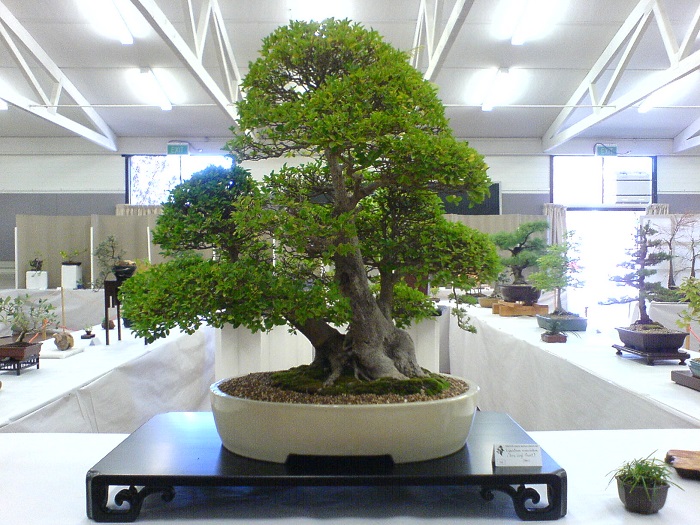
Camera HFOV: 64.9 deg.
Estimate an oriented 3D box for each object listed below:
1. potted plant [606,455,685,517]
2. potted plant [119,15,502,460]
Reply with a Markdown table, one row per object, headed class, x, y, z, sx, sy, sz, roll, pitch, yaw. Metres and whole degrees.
| class | x | y | z | sx | sy | sz | roll | pitch | yaw |
| --- | --- | --- | --- | --- | --- | --- | --- | --- | --- |
| potted plant | 1.131 | 0.822 | 2.108 | 0.201 | 0.167 | 0.204 | -5 | -9 | 35 |
| potted plant | -0.194 | -0.082 | 2.428 | 1.490 | 1.742 | 1.169 | -1 | 6 | -9 |
